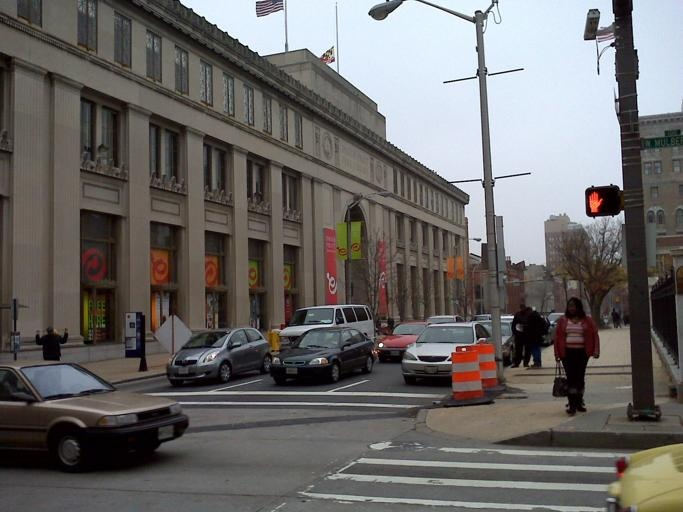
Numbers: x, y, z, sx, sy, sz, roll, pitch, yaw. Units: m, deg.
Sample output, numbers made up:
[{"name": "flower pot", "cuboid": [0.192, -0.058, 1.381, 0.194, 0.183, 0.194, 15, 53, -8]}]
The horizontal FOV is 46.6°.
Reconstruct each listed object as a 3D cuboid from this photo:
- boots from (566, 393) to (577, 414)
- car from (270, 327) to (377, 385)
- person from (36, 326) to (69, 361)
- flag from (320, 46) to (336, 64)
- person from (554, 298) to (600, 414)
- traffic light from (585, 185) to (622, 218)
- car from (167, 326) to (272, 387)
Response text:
[{"name": "boots", "cuboid": [4.885, 3.124, 16.809, 0.280, 0.466, 0.363, -5, -6, 13]}, {"name": "car", "cuboid": [-0.616, 3.242, 25.815, 1.794, 1.774, 3.725, -8, -7, 31]}, {"name": "person", "cuboid": [-9.918, 3.014, 27.155, 0.903, 1.183, 1.525, -1, -7, -25]}, {"name": "flag", "cuboid": [-1.131, -16.404, 65.172, 0.998, 1.880, 2.090, -4, -6, 6]}, {"name": "person", "cuboid": [5.048, 2.130, 17.033, 0.921, 2.456, 1.164, -5, -6, 17]}, {"name": "traffic light", "cuboid": [5.188, -1.067, 15.673, 0.712, 0.656, 0.605, -7, -7, 22]}, {"name": "car", "cuboid": [-4.092, 3.421, 27.077, 1.898, 1.779, 4.333, -8, -7, 28]}]
